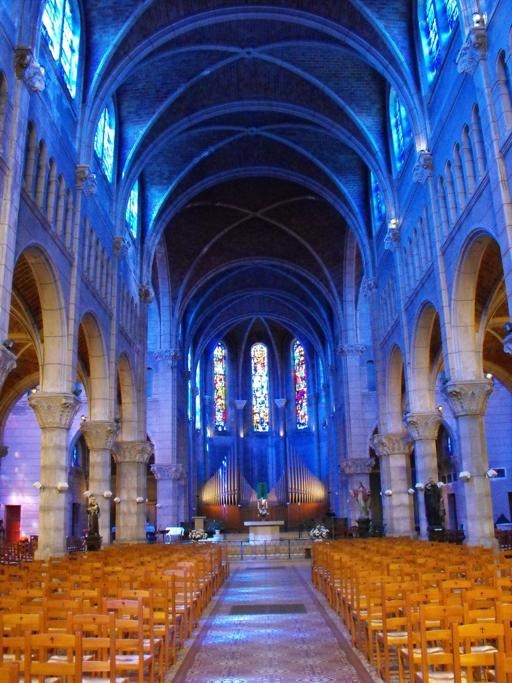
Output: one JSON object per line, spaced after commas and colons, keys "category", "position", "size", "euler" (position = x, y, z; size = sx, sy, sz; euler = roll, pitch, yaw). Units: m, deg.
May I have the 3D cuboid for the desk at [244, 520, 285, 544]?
{"category": "desk", "position": [0.412, 11.457, 38.244], "size": [2.038, 1.319, 3.030], "euler": [-11, -20, 27]}

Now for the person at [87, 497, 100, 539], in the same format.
{"category": "person", "position": [-6.040, 6.446, 23.558], "size": [0.365, 1.458, 1.216], "euler": [2, -17, -14]}
